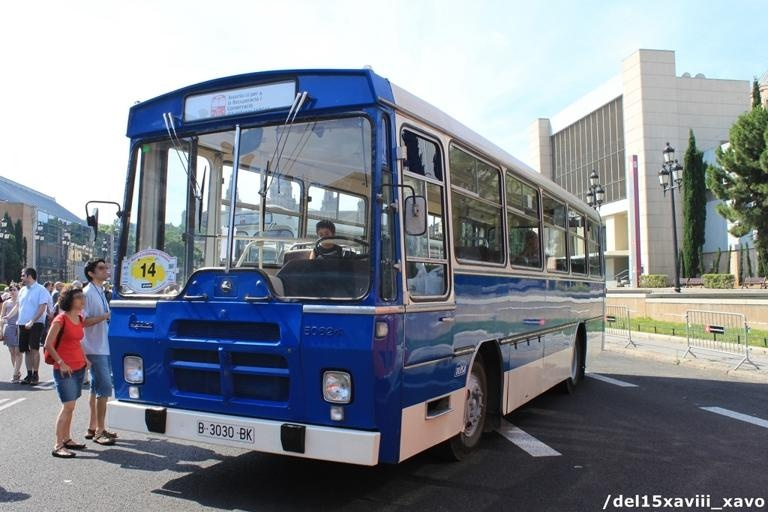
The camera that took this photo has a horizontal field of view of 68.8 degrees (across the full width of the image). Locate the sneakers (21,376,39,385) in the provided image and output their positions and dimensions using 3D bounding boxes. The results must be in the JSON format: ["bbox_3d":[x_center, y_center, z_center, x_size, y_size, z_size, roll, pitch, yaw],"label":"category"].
[{"bbox_3d":[-7.572,2.647,11.977,0.437,0.194,0.166,-4,-5,28],"label":"sneakers"}]

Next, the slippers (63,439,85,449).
[{"bbox_3d":[-4.228,2.532,7.635,0.275,0.117,0.104,0,-1,-4],"label":"slippers"}]

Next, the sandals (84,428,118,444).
[{"bbox_3d":[-4.018,2.542,7.947,0.313,0.137,0.220,5,0,14],"label":"sandals"}]
